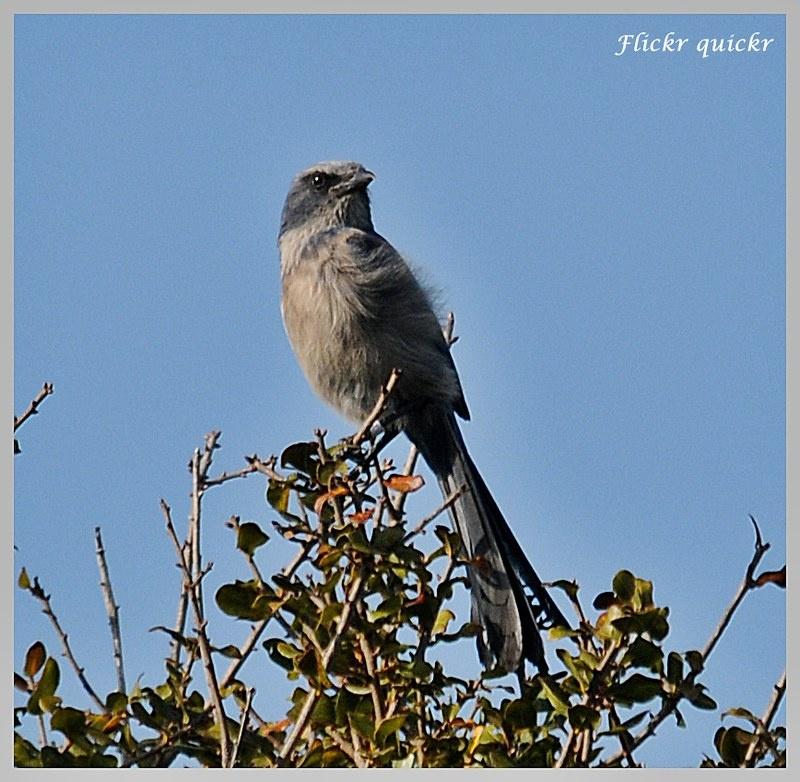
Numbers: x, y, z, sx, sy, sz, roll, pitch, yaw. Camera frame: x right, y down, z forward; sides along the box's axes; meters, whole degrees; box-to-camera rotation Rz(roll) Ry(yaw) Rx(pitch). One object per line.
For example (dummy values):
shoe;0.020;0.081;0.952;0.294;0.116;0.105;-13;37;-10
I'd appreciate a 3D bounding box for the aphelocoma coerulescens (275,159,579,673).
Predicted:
aphelocoma coerulescens;-0.006;0.002;5.812;0.849;2.488;1.053;4;-34;-6
